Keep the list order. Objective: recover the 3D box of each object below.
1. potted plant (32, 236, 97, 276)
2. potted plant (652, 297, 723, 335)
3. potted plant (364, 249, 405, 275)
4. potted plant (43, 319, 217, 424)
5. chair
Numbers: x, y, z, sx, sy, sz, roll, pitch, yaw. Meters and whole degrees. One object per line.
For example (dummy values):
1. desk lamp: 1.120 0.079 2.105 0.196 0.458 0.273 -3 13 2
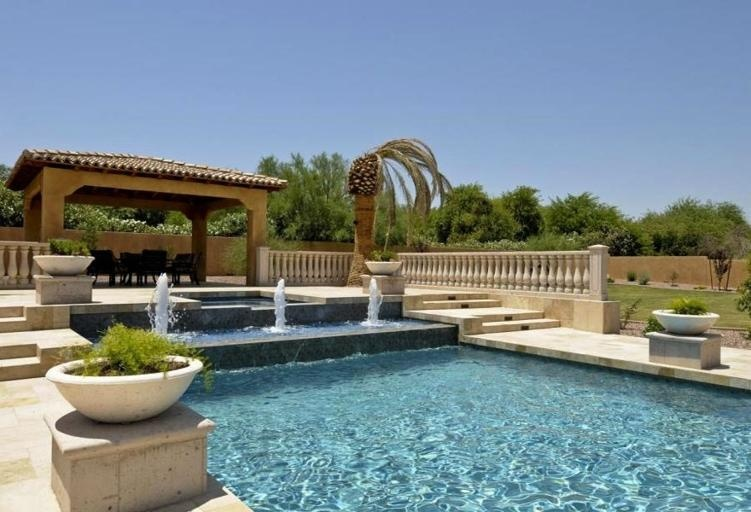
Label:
1. potted plant: -5.988 0.030 10.119 0.896 0.721 0.809 2 -3 -33
2. potted plant: 5.498 1.050 9.244 0.972 0.485 0.949 -6 7 -27
3. potted plant: 0.195 0.207 14.326 0.870 0.693 0.906 1 -3 -1
4. potted plant: -2.707 1.201 5.713 1.396 0.796 1.344 -10 -10 23
5. chair: -7.303 0.392 16.850 2.602 1.112 2.923 1 -3 -1
